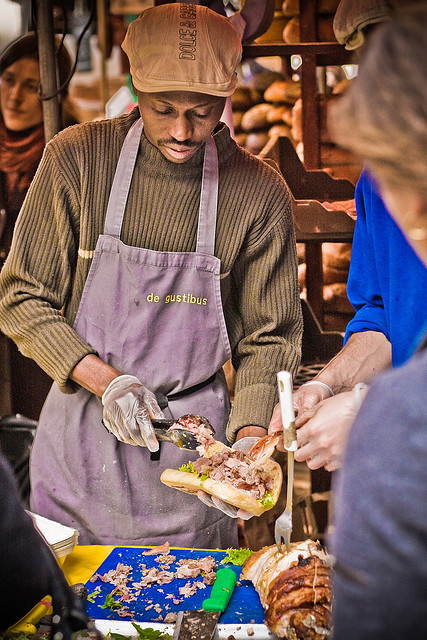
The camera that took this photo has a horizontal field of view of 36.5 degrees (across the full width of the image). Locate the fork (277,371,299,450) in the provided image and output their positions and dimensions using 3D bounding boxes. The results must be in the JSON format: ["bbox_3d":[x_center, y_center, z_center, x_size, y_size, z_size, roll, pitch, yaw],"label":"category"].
[{"bbox_3d":[0.188,0.231,1.627,0.038,0.273,0.031,-4,28,10],"label":"fork"}]

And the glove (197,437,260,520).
[{"bbox_3d":[0.065,0.539,2.255,0.195,0.285,0.375,6,38,11],"label":"glove"}]

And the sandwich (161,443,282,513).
[{"bbox_3d":[0.039,0.516,2.153,0.249,0.254,0.091,-2,70,43],"label":"sandwich"}]
